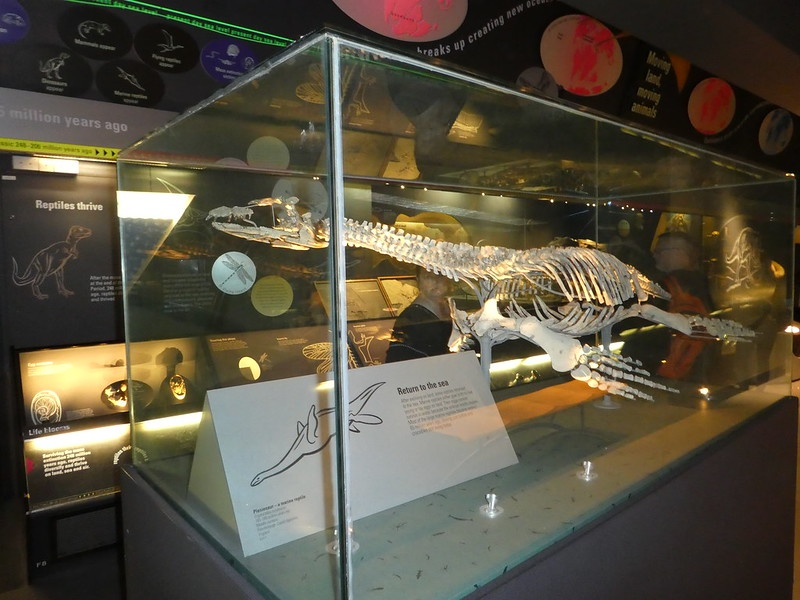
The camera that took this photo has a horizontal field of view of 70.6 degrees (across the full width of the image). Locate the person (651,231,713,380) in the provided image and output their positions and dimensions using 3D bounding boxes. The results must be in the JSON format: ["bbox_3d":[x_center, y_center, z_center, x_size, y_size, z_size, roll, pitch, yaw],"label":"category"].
[{"bbox_3d":[1.246,0.029,2.579,0.244,0.689,0.210,11,-3,-12],"label":"person"}]

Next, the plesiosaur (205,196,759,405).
[{"bbox_3d":[0.368,0.064,2.221,1.643,0.433,0.780,10,28,-13],"label":"plesiosaur"}]

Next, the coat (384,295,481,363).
[{"bbox_3d":[0.105,0.133,2.046,0.385,0.270,0.182,0,-10,-41],"label":"coat"}]
